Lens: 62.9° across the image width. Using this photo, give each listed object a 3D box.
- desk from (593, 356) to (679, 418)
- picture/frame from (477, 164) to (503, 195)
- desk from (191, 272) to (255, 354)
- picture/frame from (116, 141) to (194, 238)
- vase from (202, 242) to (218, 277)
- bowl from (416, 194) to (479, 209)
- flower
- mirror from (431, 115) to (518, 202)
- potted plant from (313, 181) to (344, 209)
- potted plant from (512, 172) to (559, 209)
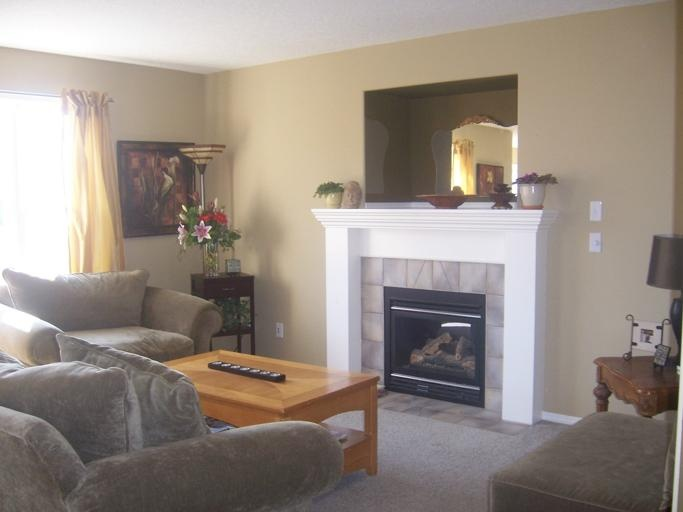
[{"bbox_3d":[1.611,0.680,3.045,0.303,0.377,0.390,-4,9,-16],"label":"desk"},{"bbox_3d":[1.212,-0.623,4.502,0.043,0.347,0.276,-6,7,-37],"label":"picture/frame"},{"bbox_3d":[-1.021,0.627,5.487,0.551,0.953,0.562,-4,-3,15],"label":"desk"},{"bbox_3d":[-1.861,-0.655,5.490,0.829,1.021,0.040,-12,19,-42],"label":"picture/frame"},{"bbox_3d":[-1.246,-0.029,5.354,0.151,0.460,0.148,-2,31,-17],"label":"vase"},{"bbox_3d":[0.872,-0.437,4.407,0.251,0.066,0.252,-1,1,0],"label":"bowl"},{"bbox_3d":[-1.266,-0.162,5.404,0.694,0.766,0.683,-3,-3,40],"label":"flower"},{"bbox_3d":[1.131,-0.808,4.612,0.028,0.604,0.770,-2,4,-36],"label":"mirror"},{"bbox_3d":[-0.086,-0.535,4.928,0.234,0.181,0.244,-1,-2,13],"label":"potted plant"},{"bbox_3d":[1.383,-0.446,4.009,0.267,0.244,0.273,-2,-3,32],"label":"potted plant"}]
